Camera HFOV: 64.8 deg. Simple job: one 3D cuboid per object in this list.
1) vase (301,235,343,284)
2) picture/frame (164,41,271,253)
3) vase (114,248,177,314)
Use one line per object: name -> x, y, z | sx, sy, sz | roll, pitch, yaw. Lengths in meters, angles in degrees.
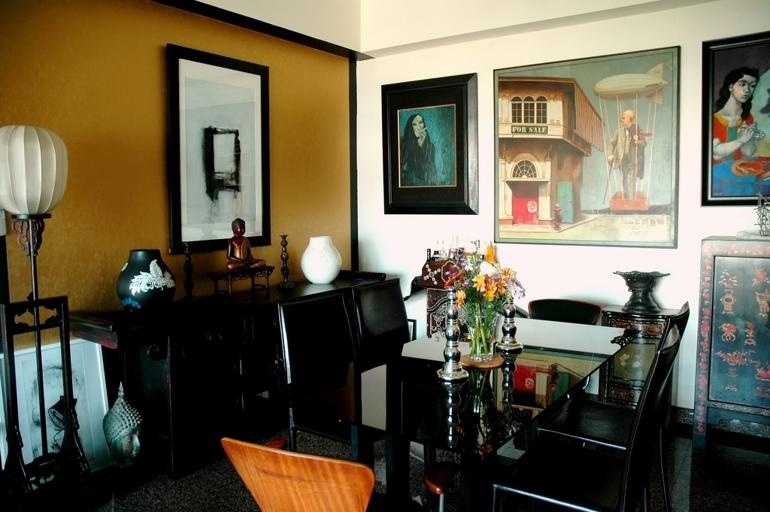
vase -> -0.578, 0.013, 5.496 | 0.366, 0.479, 0.404 | -1, 2, 25
picture/frame -> -1.380, -0.878, 5.109 | 0.091, 1.630, 0.978 | 3, 7, 40
vase -> -1.690, 0.154, 4.311 | 0.373, 0.506, 0.412 | 0, 0, 19
